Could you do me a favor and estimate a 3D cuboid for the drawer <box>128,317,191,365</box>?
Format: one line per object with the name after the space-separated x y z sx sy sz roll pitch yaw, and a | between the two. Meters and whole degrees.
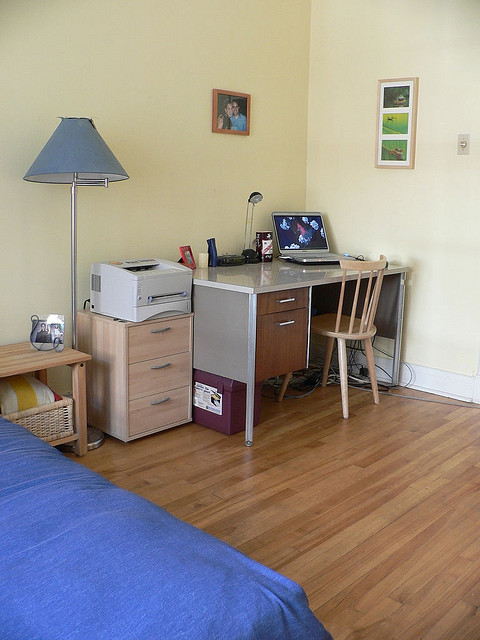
-0.377 0.096 2.453 0.221 0.122 0.215 -12 19 -41 | drawer

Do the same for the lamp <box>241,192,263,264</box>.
0.085 -0.572 3.281 0.103 0.432 0.289 3 8 2 | lamp

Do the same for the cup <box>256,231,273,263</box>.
0.162 -0.463 3.311 0.100 0.196 0.158 2 8 -6 | cup

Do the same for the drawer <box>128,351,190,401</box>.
-0.377 0.266 2.491 0.221 0.125 0.216 -10 17 -38 | drawer

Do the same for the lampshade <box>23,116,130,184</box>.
-0.665 -0.625 2.153 0.345 0.205 0.340 -11 16 -41 | lampshade

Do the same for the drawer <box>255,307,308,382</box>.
0.168 0.090 2.571 0.315 0.291 0.320 -9 15 -36 | drawer

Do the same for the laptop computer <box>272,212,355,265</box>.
0.496 -0.532 3.380 0.545 0.283 0.519 2 17 -5 | laptop computer

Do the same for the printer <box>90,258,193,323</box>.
-0.473 -0.157 2.542 0.479 0.245 0.489 0 13 -6 | printer

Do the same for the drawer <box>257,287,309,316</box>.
0.207 -0.092 2.480 0.199 0.063 0.153 -12 17 -42 | drawer

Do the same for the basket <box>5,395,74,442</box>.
-0.783 0.412 2.153 0.193 0.111 0.194 10 14 41 | basket
